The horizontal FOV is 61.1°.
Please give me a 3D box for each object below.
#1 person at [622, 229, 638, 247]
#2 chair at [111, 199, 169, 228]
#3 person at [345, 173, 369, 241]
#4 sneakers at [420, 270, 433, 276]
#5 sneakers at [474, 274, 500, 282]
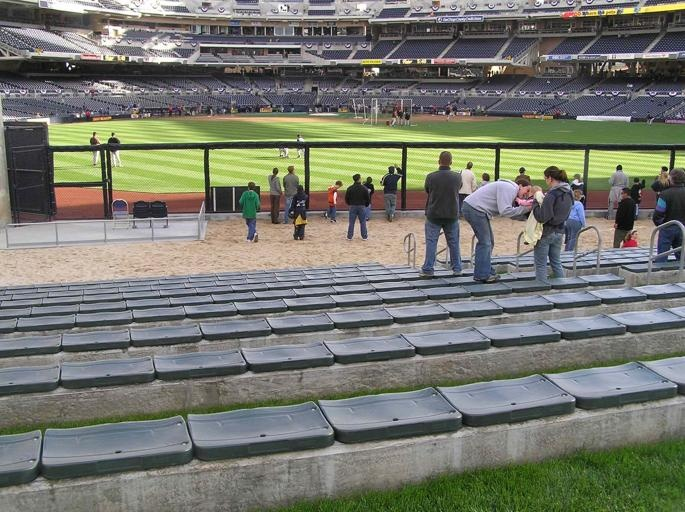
[{"bbox_3d":[6.231,-0.350,12.566,0.289,0.394,1.068,8,12,24],"label":"person"},{"bbox_3d":[-6.717,-1.367,19.176,1.753,0.668,0.514,0,20,-3],"label":"chair"},{"bbox_3d":[0.426,-1.453,17.231,0.723,1.943,1.489,3,12,1],"label":"person"},{"bbox_3d":[1.339,0.284,9.228,0.164,0.054,0.081,9,11,36],"label":"sneakers"},{"bbox_3d":[2.137,0.318,8.598,0.425,0.124,0.119,-4,11,-8],"label":"sneakers"}]
